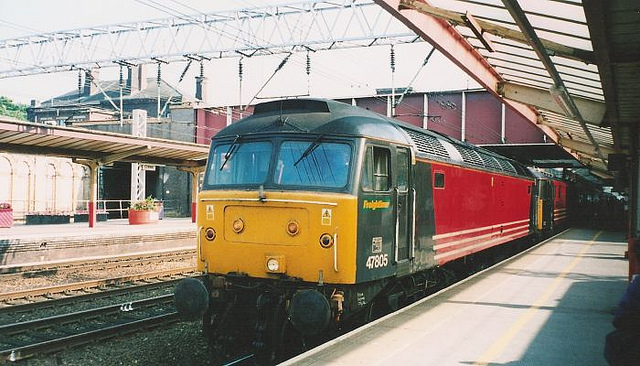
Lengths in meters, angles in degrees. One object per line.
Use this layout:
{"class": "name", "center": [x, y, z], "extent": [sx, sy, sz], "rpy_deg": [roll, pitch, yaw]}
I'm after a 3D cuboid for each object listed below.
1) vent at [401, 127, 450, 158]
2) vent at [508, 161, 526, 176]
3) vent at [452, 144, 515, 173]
{"class": "vent", "center": [3.309, -1.236, 16.976], "extent": [0.710, 0.975, 1.960], "rpy_deg": [4, 8, 33]}
{"class": "vent", "center": [8.831, -0.651, 24.692], "extent": [0.551, 0.149, 2.319], "rpy_deg": [14, 16, 5]}
{"class": "vent", "center": [6.239, -0.910, 20.860], "extent": [0.518, 1.355, 5.524], "rpy_deg": [5, 9, 34]}
